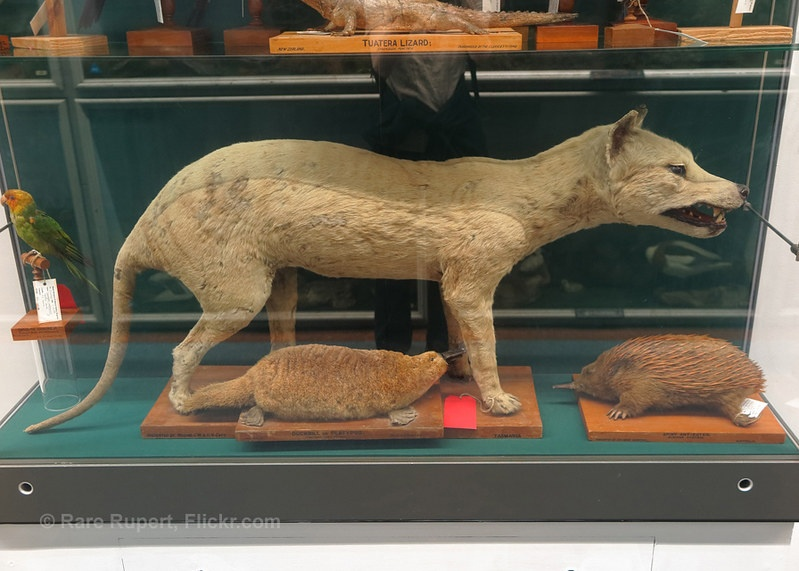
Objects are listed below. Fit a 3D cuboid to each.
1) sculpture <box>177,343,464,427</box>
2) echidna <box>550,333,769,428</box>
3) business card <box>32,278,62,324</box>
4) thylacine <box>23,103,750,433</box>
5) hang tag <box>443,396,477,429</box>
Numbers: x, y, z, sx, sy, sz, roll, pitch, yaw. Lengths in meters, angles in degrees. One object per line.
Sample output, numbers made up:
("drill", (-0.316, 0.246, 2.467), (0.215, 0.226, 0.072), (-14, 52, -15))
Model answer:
("sculpture", (-0.240, 0.368, 3.092), (1.088, 0.178, 0.340), (0, 4, 0))
("echidna", (0.911, 0.300, 3.392), (0.994, 0.289, 0.646), (1, 13, -4))
("business card", (-1.303, 0.057, 3.099), (0.011, 0.161, 0.116), (-4, 5, 21))
("thylacine", (-0.019, -0.065, 3.008), (2.333, 1.115, 0.251), (0, 22, 2))
("hang tag", (0.230, 0.477, 3.092), (0.217, 0.018, 0.180), (3, 31, 1))
